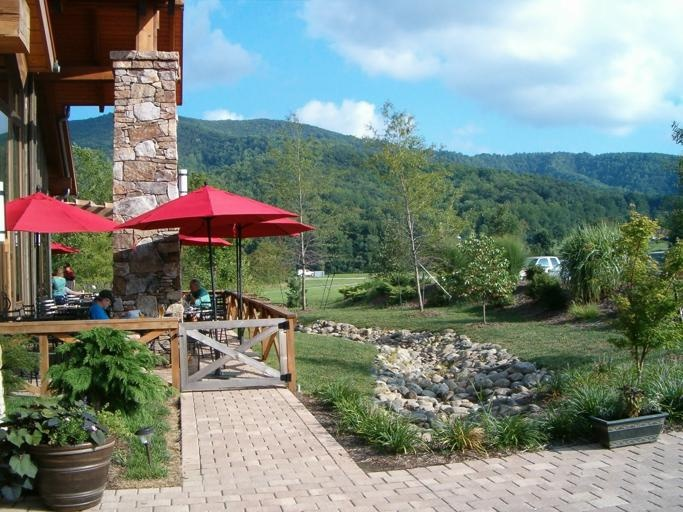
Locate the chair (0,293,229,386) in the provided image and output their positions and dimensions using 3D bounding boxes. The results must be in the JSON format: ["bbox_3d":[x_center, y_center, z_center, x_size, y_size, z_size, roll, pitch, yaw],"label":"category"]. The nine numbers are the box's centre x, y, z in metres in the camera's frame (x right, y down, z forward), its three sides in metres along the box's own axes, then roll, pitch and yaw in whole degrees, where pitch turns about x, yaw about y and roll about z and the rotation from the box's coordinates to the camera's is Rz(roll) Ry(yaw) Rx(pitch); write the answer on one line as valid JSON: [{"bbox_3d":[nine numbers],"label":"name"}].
[{"bbox_3d":[-3.758,1.584,9.879,2.589,1.287,0.745,-2,8,-21],"label":"chair"}]

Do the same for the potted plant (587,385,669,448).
[{"bbox_3d":[3.910,2.265,8.720,1.095,0.426,0.737,0,-7,-25],"label":"potted plant"}]
